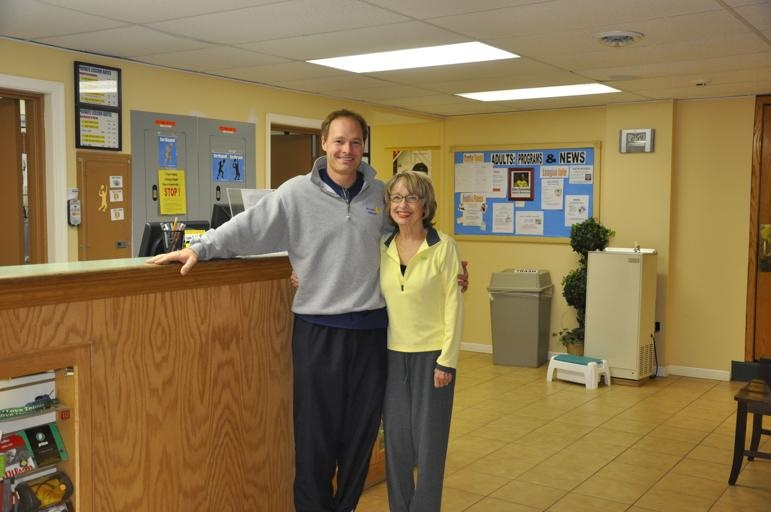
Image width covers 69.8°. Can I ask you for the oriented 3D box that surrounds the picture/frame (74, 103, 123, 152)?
[{"bbox_3d":[-2.793,-1.240,5.309,0.072,0.418,0.513,4,5,41],"label":"picture/frame"}]

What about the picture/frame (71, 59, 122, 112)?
[{"bbox_3d":[-2.786,-1.620,5.259,0.078,0.509,0.580,3,4,43],"label":"picture/frame"}]

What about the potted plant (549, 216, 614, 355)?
[{"bbox_3d":[2.693,0.419,7.428,0.563,1.835,0.853,-1,6,-8],"label":"potted plant"}]

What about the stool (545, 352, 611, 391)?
[{"bbox_3d":[2.437,1.402,6.851,0.578,0.249,0.429,4,7,43],"label":"stool"}]
